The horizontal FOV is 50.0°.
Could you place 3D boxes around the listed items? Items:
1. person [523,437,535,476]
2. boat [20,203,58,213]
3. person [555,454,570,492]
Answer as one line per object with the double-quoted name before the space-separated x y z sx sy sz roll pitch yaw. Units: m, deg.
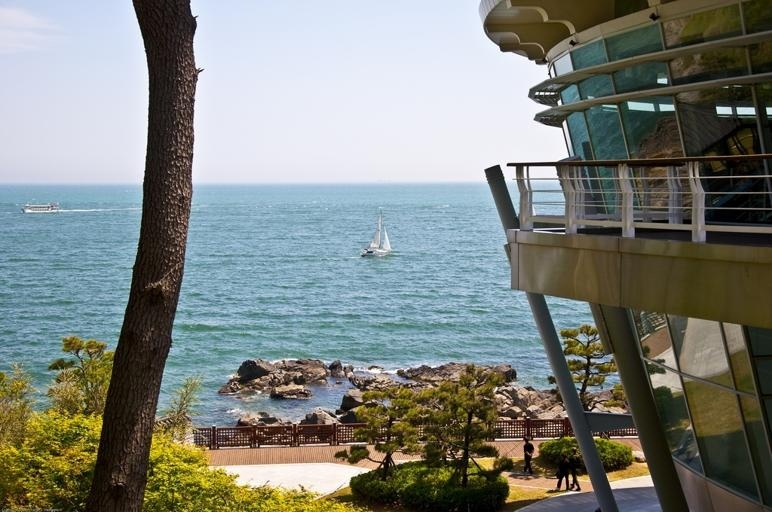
"person" 5.770 7.880 32.724 0.415 0.999 1.655 3 7 10
"boat" -88.535 -12.008 210.731 6.938 2.601 4.680 -2 6 -16
"person" 6.587 7.946 30.203 0.507 1.079 1.132 3 7 13
